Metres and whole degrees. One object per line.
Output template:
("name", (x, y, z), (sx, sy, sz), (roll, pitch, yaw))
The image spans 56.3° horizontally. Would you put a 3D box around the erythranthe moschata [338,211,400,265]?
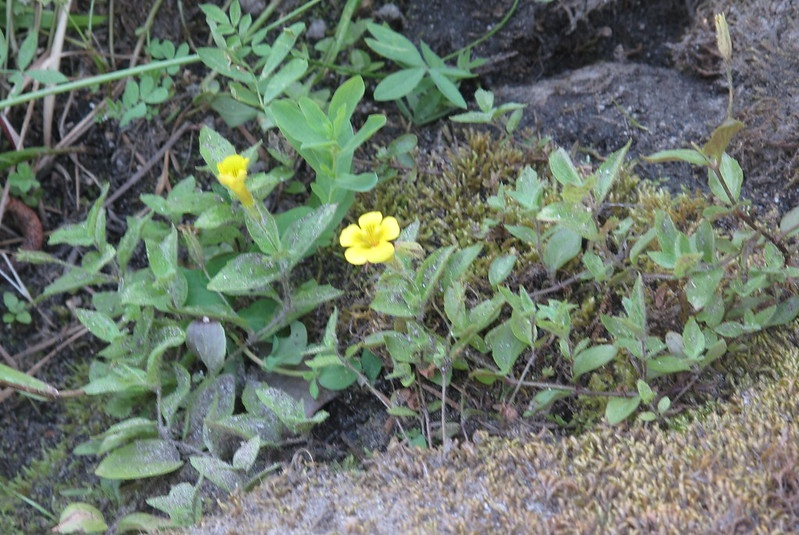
("erythranthe moschata", (-0.138, -0.146, 3.718), (0.269, 0.303, 0.132), (-19, 79, -1))
